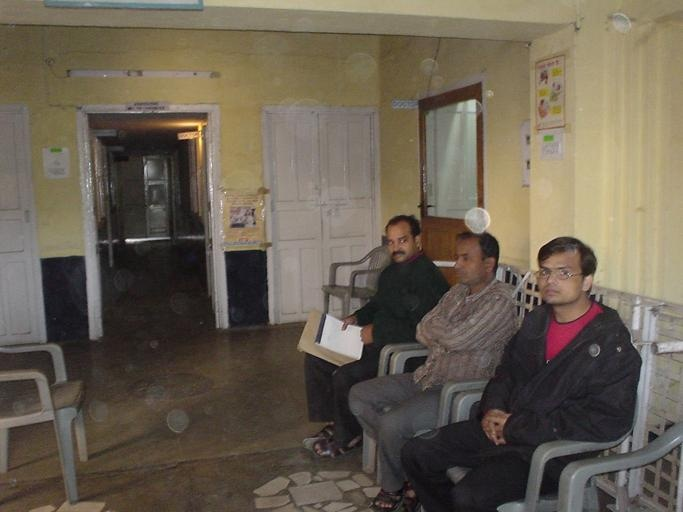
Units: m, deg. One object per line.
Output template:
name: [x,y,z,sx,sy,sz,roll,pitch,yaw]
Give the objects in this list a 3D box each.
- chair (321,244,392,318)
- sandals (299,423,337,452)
chair: [0.155,0.327,6.363,0.658,0.838,0.650,-4,9,-32]
sandals: [-0.111,1.233,4.020,0.137,0.113,0.345,-40,-13,36]
